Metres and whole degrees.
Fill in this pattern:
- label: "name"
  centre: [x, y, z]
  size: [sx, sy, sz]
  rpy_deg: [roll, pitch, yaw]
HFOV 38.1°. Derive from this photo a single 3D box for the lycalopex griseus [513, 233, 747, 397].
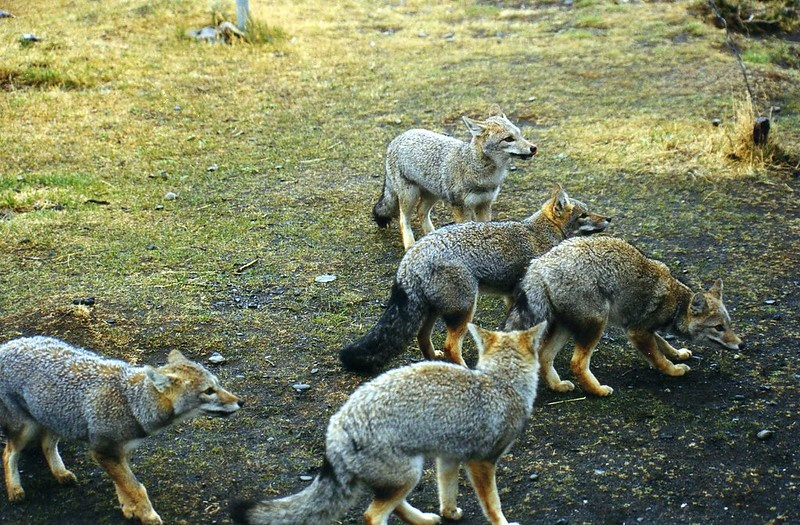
- label: "lycalopex griseus"
  centre: [2.912, 0.771, 15.225]
  size: [3.246, 1.954, 0.987]
  rpy_deg: [3, -1, -15]
